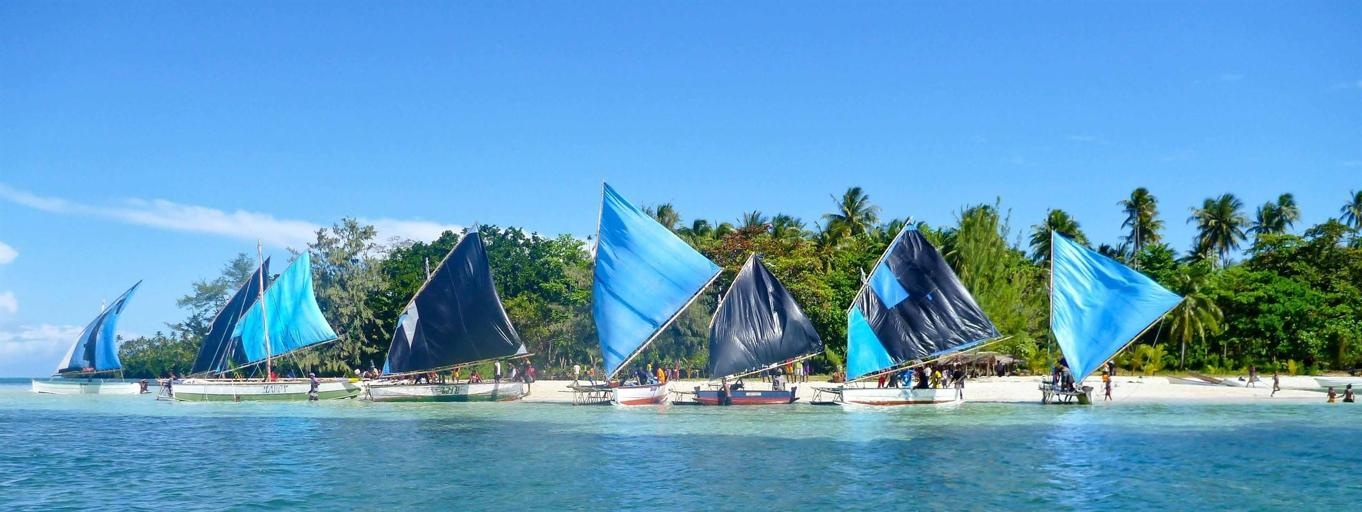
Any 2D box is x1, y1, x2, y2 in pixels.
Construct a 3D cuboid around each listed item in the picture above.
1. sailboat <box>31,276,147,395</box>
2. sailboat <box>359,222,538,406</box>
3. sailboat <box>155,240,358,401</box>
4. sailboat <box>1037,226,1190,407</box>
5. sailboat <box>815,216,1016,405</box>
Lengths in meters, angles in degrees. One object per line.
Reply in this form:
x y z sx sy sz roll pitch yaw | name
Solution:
-84.014 11.751 130.711 23.063 15.083 7.625 -6 1 22 | sailboat
-30.219 7.894 120.774 14.927 21.157 10.604 -10 -18 36 | sailboat
-56.148 9.854 125.997 18.987 19.082 9.080 -5 -15 21 | sailboat
51.544 5.513 113.976 11.912 16.344 4.714 -4 -15 16 | sailboat
28.559 7.209 117.304 16.511 22.401 8.711 -5 -15 20 | sailboat
